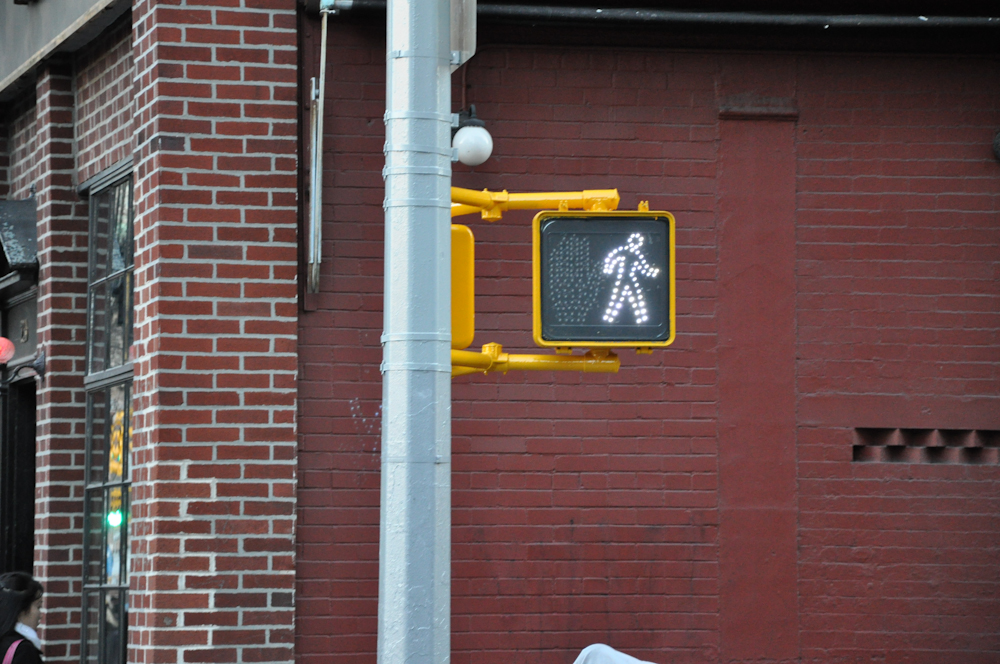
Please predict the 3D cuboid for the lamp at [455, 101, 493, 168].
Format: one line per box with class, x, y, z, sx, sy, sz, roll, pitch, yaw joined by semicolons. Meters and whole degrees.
lamp;-0.202;-1.362;17.688;0.264;0.403;0.395;2;-13;-2
